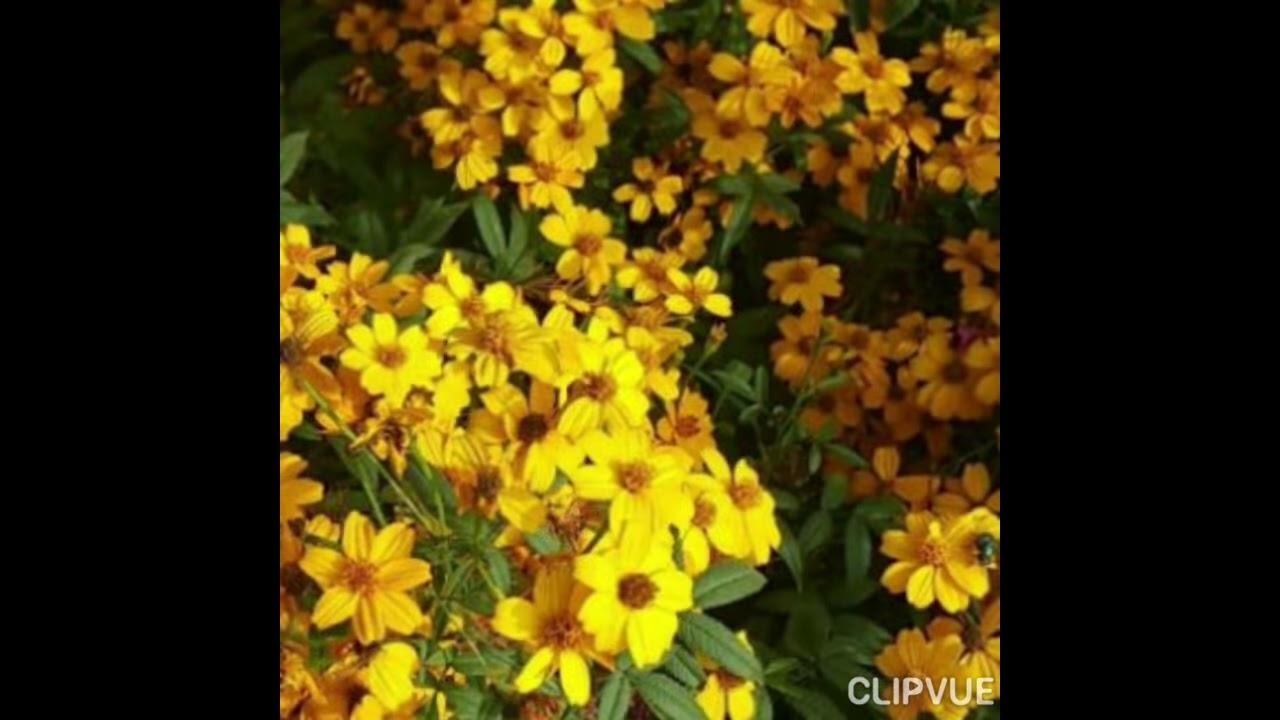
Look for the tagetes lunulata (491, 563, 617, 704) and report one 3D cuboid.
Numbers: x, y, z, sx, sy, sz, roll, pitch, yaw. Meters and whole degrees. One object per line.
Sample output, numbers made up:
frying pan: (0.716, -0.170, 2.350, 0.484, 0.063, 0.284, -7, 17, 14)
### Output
tagetes lunulata: (-0.124, 0.392, 1.994, 0.180, 0.182, 0.066, -44, 6, 5)
